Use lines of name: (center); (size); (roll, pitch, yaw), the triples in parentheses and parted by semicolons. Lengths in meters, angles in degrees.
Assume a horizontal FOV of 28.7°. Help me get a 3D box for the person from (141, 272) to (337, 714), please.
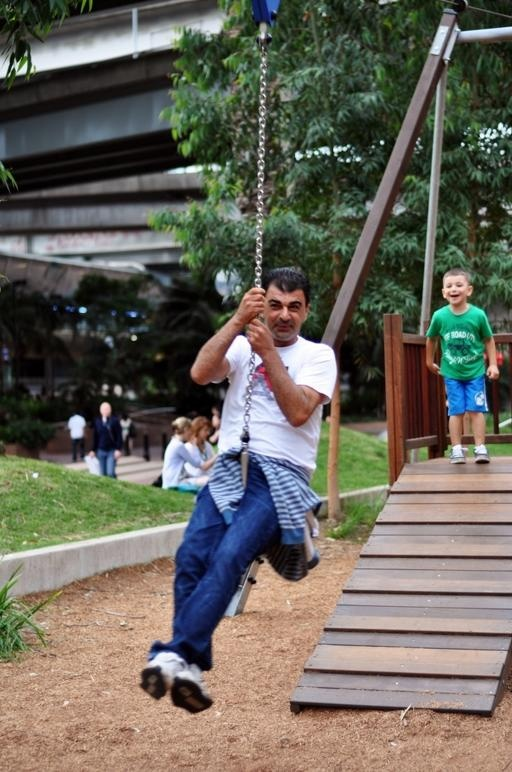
person: (-0.061, 0.360, 4.154); (0.531, 1.849, 1.037); (1, -2, 26)

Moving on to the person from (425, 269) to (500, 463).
person: (1.538, -0.139, 7.544); (0.534, 1.422, 0.937); (1, -2, 12)

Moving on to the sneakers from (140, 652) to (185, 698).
sneakers: (-0.342, 1.073, 3.711); (0.172, 0.160, 0.086); (2, -2, -13)

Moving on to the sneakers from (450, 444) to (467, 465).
sneakers: (1.465, 0.496, 7.284); (0.100, 0.130, 0.200); (1, -2, 9)

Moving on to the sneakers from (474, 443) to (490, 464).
sneakers: (1.625, 0.497, 7.177); (0.075, 0.081, 0.195); (-1, -9, 3)
